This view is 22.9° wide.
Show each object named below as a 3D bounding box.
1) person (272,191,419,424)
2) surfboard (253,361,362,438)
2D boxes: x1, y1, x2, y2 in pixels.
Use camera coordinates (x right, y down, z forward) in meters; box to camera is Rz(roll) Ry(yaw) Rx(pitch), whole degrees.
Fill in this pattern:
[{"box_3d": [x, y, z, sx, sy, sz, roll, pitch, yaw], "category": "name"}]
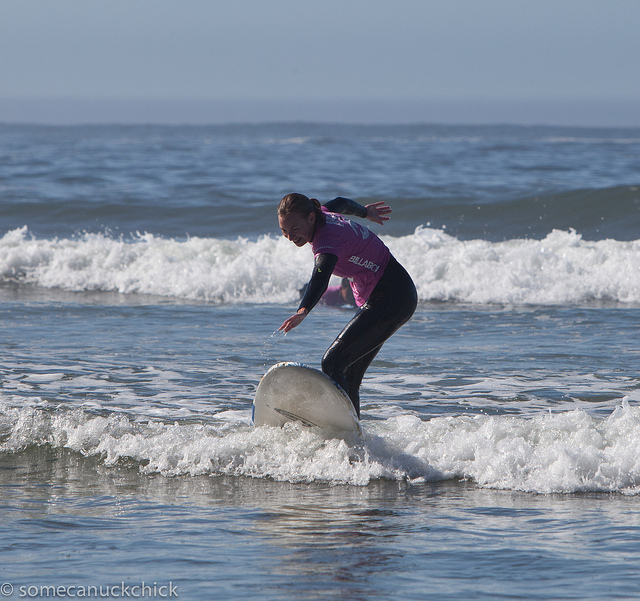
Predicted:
[{"box_3d": [0.165, 0.065, 13.422, 1.271, 2.006, 0.562, -10, 17, -36], "category": "person"}, {"box_3d": [-0.218, 0.969, 13.795, 0.720, 0.194, 1.400, -6, -17, 16], "category": "surfboard"}]
